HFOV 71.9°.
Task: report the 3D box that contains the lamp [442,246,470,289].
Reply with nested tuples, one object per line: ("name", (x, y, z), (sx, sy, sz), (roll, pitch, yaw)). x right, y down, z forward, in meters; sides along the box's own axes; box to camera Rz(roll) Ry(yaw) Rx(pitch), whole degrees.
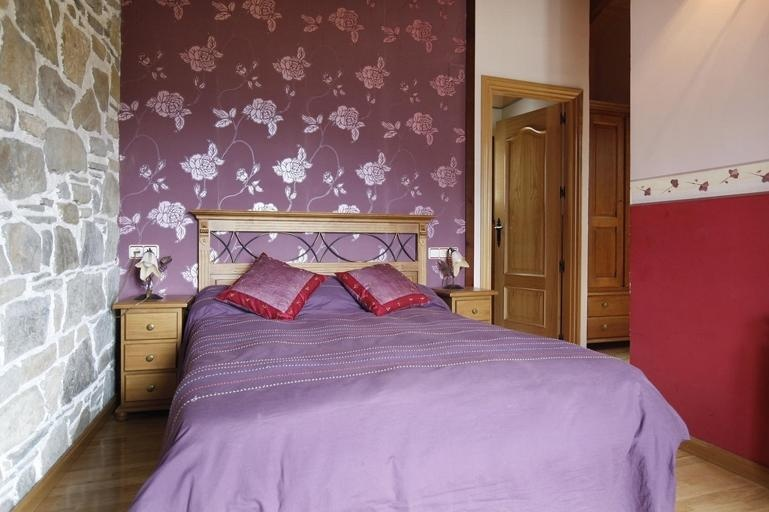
("lamp", (0.638, 0.113, 4.975), (0.310, 0.421, 0.348), (-2, -3, 28))

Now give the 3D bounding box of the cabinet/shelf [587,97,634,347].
("cabinet/shelf", (2.747, -0.588, 6.401), (0.617, 2.906, 1.219), (4, 31, 28))

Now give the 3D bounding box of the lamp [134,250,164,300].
("lamp", (-1.940, 0.143, 4.380), (0.223, 0.410, 0.260), (8, 11, -9))
